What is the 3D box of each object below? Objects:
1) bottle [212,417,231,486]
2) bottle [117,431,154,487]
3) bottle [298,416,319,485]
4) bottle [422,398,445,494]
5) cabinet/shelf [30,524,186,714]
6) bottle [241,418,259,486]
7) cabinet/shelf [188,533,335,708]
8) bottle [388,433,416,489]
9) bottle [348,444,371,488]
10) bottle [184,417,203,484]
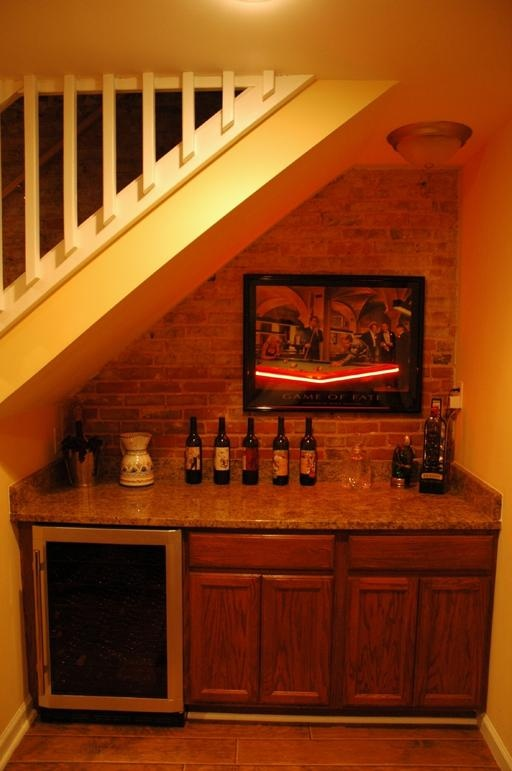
[{"bbox_3d":[-0.139,0.257,2.984,0.069,0.265,0.171,0,13,-2],"label":"bottle"},{"bbox_3d":[-0.482,0.303,3.009,0.180,0.245,0.173,0,1,0],"label":"bottle"},{"bbox_3d":[0.211,0.265,2.953,0.061,0.275,0.106,0,13,-2],"label":"bottle"},{"bbox_3d":[0.710,0.222,2.877,0.091,0.368,0.192,4,13,14],"label":"bottle"},{"bbox_3d":[-0.450,0.813,2.767,0.574,0.880,0.616,0,-1,0],"label":"cabinet/shelf"},{"bbox_3d":[-0.025,0.269,2.924,0.052,0.264,0.064,-4,14,-20],"label":"bottle"},{"bbox_3d":[0.016,0.791,2.528,0.558,0.721,0.358,0,1,0],"label":"cabinet/shelf"},{"bbox_3d":[0.608,0.307,2.985,0.101,0.218,0.185,4,13,13],"label":"bottle"},{"bbox_3d":[0.430,0.336,2.988,0.091,0.130,0.168,3,13,8],"label":"bottle"},{"bbox_3d":[-0.258,0.259,3.002,0.077,0.273,0.155,0,13,-5],"label":"bottle"}]
